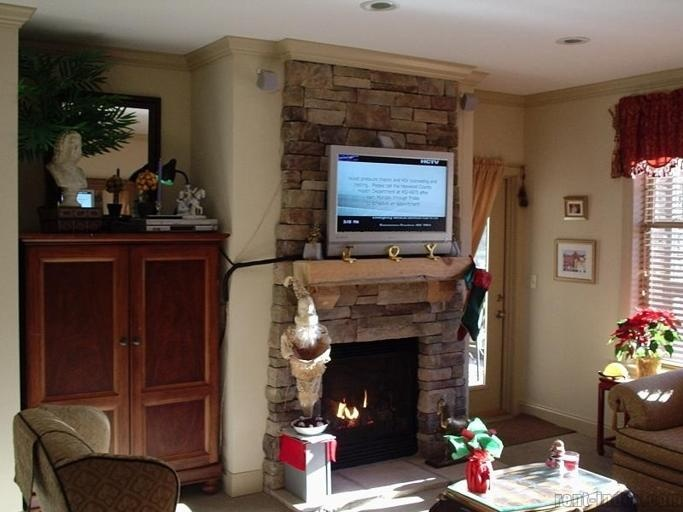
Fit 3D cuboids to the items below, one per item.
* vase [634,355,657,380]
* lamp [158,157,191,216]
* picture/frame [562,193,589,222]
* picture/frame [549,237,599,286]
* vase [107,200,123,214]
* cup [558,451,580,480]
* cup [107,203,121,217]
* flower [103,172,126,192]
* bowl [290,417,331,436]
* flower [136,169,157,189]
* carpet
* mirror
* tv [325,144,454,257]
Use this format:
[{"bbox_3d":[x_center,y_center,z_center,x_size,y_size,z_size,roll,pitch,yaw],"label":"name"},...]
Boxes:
[{"bbox_3d":[2.459,0.893,4.425,0.161,0.169,0.157,1,-1,10],"label":"vase"},{"bbox_3d":[-1.276,-0.551,4.193,0.219,0.422,0.562,-1,5,-15],"label":"lamp"},{"bbox_3d":[2.216,-0.460,5.186,0.030,0.273,0.275,-3,5,-26],"label":"picture/frame"},{"bbox_3d":[2.217,0.045,5.209,0.035,0.461,0.468,1,2,-35],"label":"picture/frame"},{"bbox_3d":[-1.593,-0.343,3.850,0.091,0.068,0.092,-2,3,-41],"label":"vase"},{"bbox_3d":[1.354,1.232,3.314,0.131,0.198,0.134,-2,2,0],"label":"cup"},{"bbox_3d":[-1.583,-0.319,3.838,0.096,0.072,0.095,0,4,0],"label":"cup"},{"bbox_3d":[-1.622,-0.517,3.992,0.152,0.190,0.151,2,0,-5],"label":"flower"},{"bbox_3d":[-0.228,1.190,3.899,0.260,0.119,0.249,0,5,0],"label":"bowl"},{"bbox_3d":[-1.429,-0.549,4.033,0.158,0.167,0.344,-1,5,-20],"label":"flower"},{"bbox_3d":[1.657,1.529,4.821,0.675,0.027,0.590,-5,9,-23],"label":"carpet"},{"bbox_3d":[-1.753,-0.712,3.942,1.090,1.231,0.063,-1,1,-39],"label":"mirror"},{"bbox_3d":[0.319,-0.416,4.095,0.898,0.635,0.089,-1,8,-24],"label":"tv"}]
